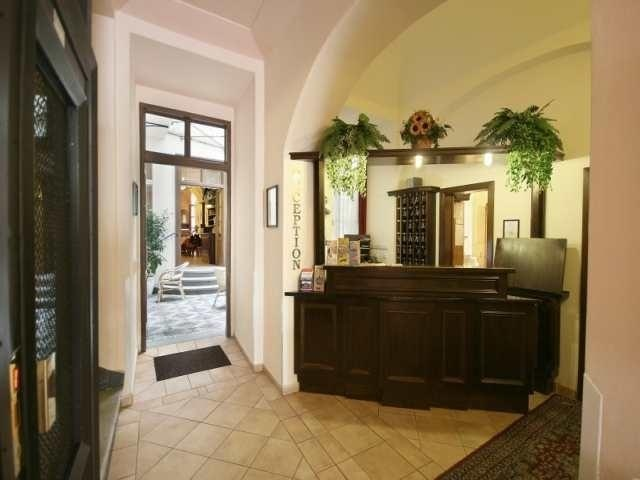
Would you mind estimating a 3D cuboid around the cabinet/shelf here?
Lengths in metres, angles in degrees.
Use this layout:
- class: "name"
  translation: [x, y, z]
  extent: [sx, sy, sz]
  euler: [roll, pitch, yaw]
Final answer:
- class: "cabinet/shelf"
  translation: [1.329, -0.200, 6.413]
  extent: [0.341, 1.572, 0.996]
  euler: [3, -5, -30]

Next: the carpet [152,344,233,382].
- class: "carpet"
  translation: [-1.469, 1.378, 5.238]
  extent: [0.827, 0.075, 0.701]
  euler: [-7, 14, -29]

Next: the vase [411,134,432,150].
- class: "vase"
  translation: [0.988, -0.936, 4.455]
  extent: [0.186, 0.124, 0.123]
  euler: [2, 12, 10]

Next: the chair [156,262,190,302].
- class: "chair"
  translation: [-2.652, 0.716, 8.276]
  extent: [0.710, 0.968, 0.707]
  euler: [2, -4, -17]

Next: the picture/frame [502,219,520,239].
- class: "picture/frame"
  translation: [2.175, -0.121, 5.249]
  extent: [0.011, 0.268, 0.205]
  euler: [8, -5, -30]

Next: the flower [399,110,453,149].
- class: "flower"
  translation: [1.065, -1.097, 4.665]
  extent: [0.479, 0.500, 0.229]
  euler: [3, 12, 24]
